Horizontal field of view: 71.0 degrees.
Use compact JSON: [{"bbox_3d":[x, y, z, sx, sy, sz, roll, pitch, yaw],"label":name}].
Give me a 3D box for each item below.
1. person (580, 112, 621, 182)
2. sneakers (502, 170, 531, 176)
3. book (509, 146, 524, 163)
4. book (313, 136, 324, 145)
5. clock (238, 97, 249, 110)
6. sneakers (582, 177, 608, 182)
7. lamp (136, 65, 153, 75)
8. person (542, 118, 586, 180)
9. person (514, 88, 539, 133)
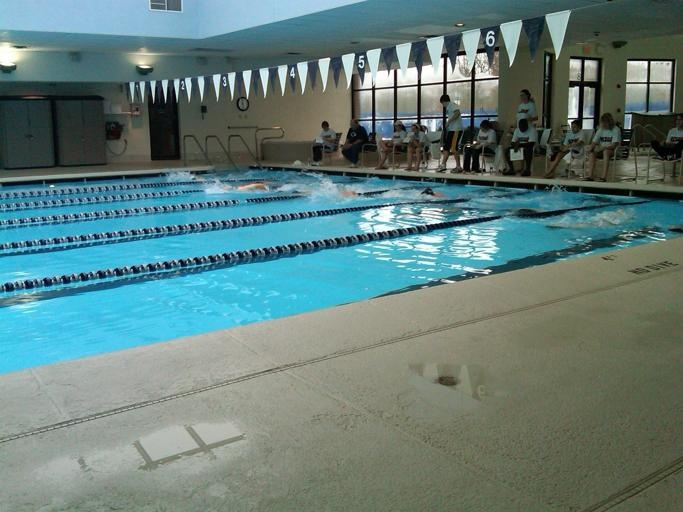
[{"bbox_3d":[4.150,-1.746,7.601,0.438,1.048,1.083,3,12,26],"label":"person"},{"bbox_3d":[3.085,-1.461,8.427,0.443,0.143,0.140,1,17,12],"label":"sneakers"},{"bbox_3d":[3.034,-1.790,8.333,0.276,0.197,0.196,8,15,42],"label":"book"},{"bbox_3d":[-0.574,-2.890,12.115,0.304,0.127,0.476,-5,27,0],"label":"book"},{"bbox_3d":[-2.904,-4.510,14.196,0.446,0.406,0.122,-10,13,-34],"label":"clock"},{"bbox_3d":[3.907,-1.185,7.393,0.390,0.096,0.132,2,9,9],"label":"sneakers"},{"bbox_3d":[-4.992,-4.721,12.124,0.244,0.176,0.317,-9,23,-27],"label":"lamp"},{"bbox_3d":[3.670,-1.763,7.953,0.581,0.868,0.746,-2,11,4],"label":"person"},{"bbox_3d":[3.249,-2.600,8.401,0.322,0.705,0.782,1,11,20],"label":"person"}]
